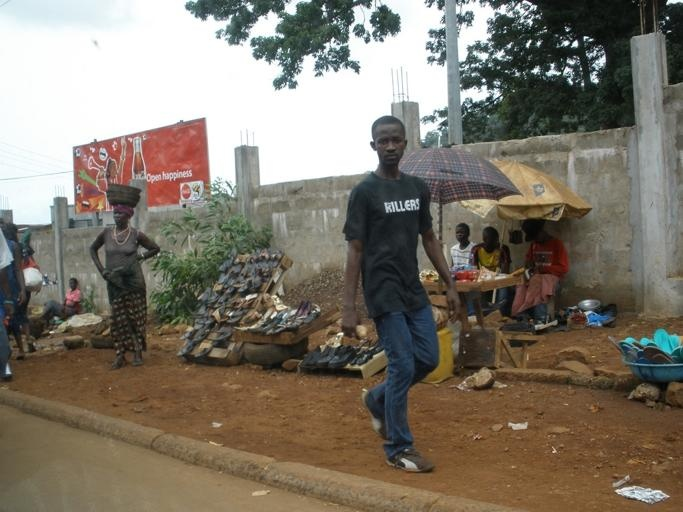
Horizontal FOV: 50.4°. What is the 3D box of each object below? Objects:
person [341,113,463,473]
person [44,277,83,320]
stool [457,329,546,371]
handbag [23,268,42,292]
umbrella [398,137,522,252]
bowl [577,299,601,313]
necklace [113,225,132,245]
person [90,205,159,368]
[{"bbox_3d":[0.514,0.314,6.664,0.837,3.173,1.072,2,12,30],"label":"person"},{"bbox_3d":[-6.648,1.048,17.280,0.777,0.961,1.405,-6,10,-16],"label":"person"},{"bbox_3d":[2.313,1.207,9.334,0.919,0.506,0.666,-1,-7,35],"label":"stool"},{"bbox_3d":[-5.436,0.418,12.716,0.190,0.278,0.358,-22,12,-8],"label":"handbag"},{"bbox_3d":[1.661,-0.992,10.474,1.225,0.760,1.229,5,2,-12],"label":"umbrella"},{"bbox_3d":[4.071,0.812,11.888,0.347,0.142,0.300,-1,9,12],"label":"bowl"},{"bbox_3d":[-3.257,-0.307,10.732,0.218,0.276,0.084,8,-10,1],"label":"necklace"},{"bbox_3d":[-3.143,0.420,10.741,0.747,2.387,0.632,-6,11,-15],"label":"person"}]
